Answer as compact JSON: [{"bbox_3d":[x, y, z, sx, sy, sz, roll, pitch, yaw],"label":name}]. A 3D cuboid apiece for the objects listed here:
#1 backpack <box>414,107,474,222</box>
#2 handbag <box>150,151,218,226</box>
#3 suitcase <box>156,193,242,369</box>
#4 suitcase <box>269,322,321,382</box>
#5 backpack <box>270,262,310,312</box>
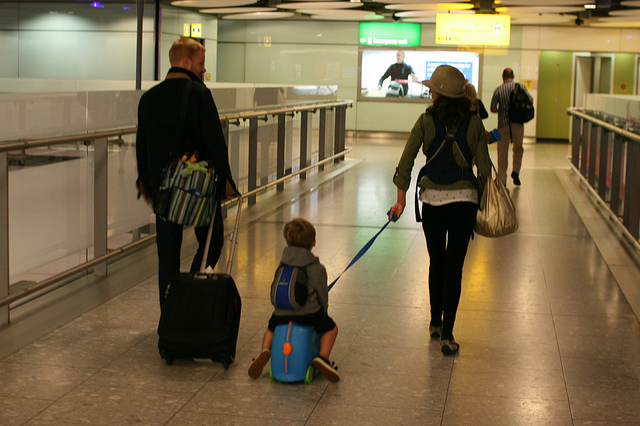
[{"bbox_3d":[0.908,-0.344,3.671,0.538,0.897,0.368,3,10,37],"label":"backpack"},{"bbox_3d":[-0.941,-0.128,3.580,0.430,0.454,0.262,16,-7,-43],"label":"handbag"},{"bbox_3d":[-0.762,0.370,3.584,0.563,1.297,0.510,0,-16,17],"label":"suitcase"},{"bbox_3d":[-0.148,0.899,3.356,0.294,0.379,0.478,-1,-5,15],"label":"suitcase"},{"bbox_3d":[-0.184,0.461,3.171,0.225,0.290,0.134,4,12,12],"label":"backpack"}]
